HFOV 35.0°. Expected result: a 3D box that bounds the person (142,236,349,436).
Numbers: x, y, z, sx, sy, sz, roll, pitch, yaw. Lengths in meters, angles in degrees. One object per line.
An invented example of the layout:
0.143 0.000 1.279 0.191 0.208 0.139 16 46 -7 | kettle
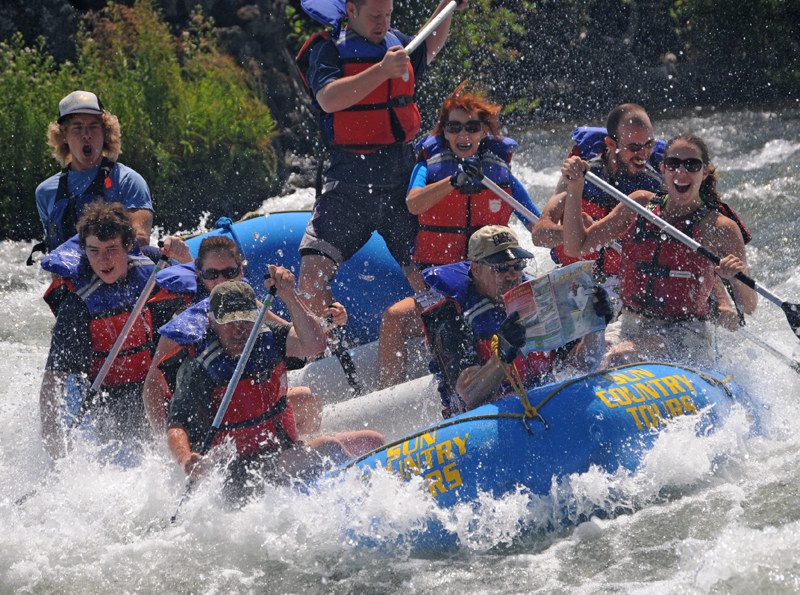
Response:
-1.556 0.217 10.050 1.460 1.617 0.604 8 -3 -19 | person

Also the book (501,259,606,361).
1.146 0.081 9.321 0.729 0.568 0.234 -14 35 -10 | book

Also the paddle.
2.416 -0.320 10.709 2.243 0.568 0.163 36 53 6 | paddle

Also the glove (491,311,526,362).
0.807 0.297 9.298 0.199 0.350 0.098 12 17 14 | glove

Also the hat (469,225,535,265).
0.748 -0.405 9.699 0.361 0.199 0.284 -5 9 13 | hat

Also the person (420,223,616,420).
0.769 0.116 9.986 1.084 1.642 0.656 12 17 28 | person

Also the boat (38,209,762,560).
-0.023 0.720 10.063 4.279 0.807 2.571 1 18 38 | boat

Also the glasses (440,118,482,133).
0.534 -1.445 10.728 0.293 0.115 0.061 -4 35 5 | glasses

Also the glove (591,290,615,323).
1.496 0.071 9.423 0.070 0.216 0.165 -16 45 12 | glove
